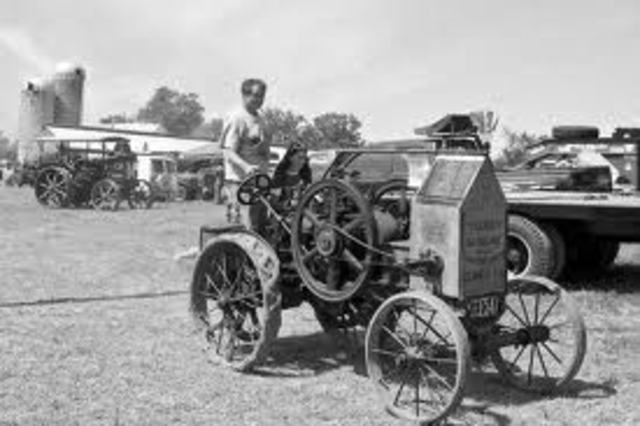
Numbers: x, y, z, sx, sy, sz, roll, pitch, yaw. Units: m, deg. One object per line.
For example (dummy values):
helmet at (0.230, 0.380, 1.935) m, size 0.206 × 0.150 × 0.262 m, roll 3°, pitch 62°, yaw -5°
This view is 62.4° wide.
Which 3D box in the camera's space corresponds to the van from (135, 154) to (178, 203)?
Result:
van at (-8.277, -1.728, 26.251) m, size 2.712 × 1.782 × 1.576 m, roll -5°, pitch 4°, yaw 11°

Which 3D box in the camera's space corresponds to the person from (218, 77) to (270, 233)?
person at (-0.838, -0.624, 5.823) m, size 0.562 × 1.695 × 0.749 m, roll 1°, pitch 5°, yaw -6°

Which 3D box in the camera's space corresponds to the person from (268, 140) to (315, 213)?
person at (-0.300, -0.375, 5.527) m, size 0.432 × 0.738 × 0.375 m, roll 1°, pitch 5°, yaw -5°
